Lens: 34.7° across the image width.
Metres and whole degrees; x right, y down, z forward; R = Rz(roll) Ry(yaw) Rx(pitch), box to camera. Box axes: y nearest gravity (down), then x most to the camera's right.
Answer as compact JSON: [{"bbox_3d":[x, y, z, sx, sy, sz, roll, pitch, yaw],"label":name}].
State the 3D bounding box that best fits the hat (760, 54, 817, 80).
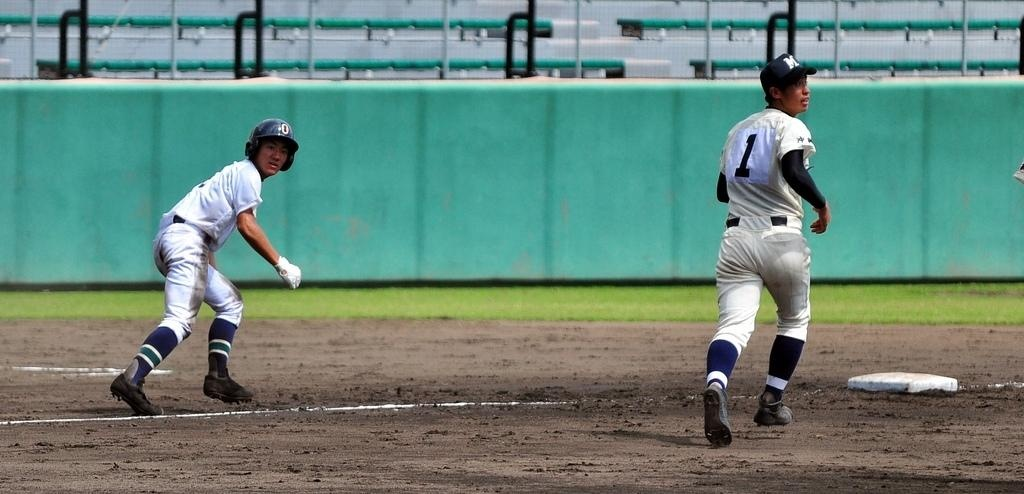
[{"bbox_3d":[4.047,-2.618,24.027,0.667,0.232,0.407,-6,7,8],"label":"hat"}]
